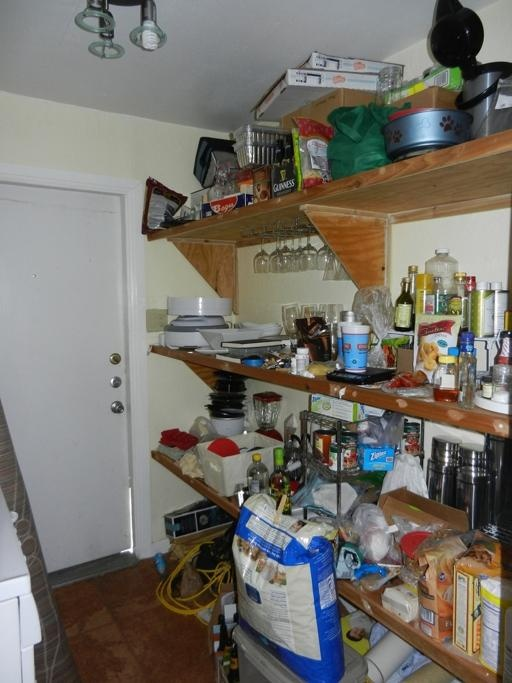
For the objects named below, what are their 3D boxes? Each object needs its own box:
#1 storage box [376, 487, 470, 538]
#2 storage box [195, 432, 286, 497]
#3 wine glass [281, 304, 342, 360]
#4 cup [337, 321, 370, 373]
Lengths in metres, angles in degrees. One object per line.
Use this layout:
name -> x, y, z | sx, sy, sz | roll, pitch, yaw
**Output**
storage box -> 0.418, 0.420, 1.333 | 0.080, 0.057, 0.140 | 1, 10, -26
storage box -> -0.090, 0.462, 2.011 | 0.225, 0.132, 0.219 | -4, 2, -35
wine glass -> 0.184, -0.041, 1.824 | 0.202, 0.288, 0.186 | -2, 2, -15
cup -> 0.265, 0.013, 1.416 | 0.072, 0.132, 0.149 | 0, 8, 10
